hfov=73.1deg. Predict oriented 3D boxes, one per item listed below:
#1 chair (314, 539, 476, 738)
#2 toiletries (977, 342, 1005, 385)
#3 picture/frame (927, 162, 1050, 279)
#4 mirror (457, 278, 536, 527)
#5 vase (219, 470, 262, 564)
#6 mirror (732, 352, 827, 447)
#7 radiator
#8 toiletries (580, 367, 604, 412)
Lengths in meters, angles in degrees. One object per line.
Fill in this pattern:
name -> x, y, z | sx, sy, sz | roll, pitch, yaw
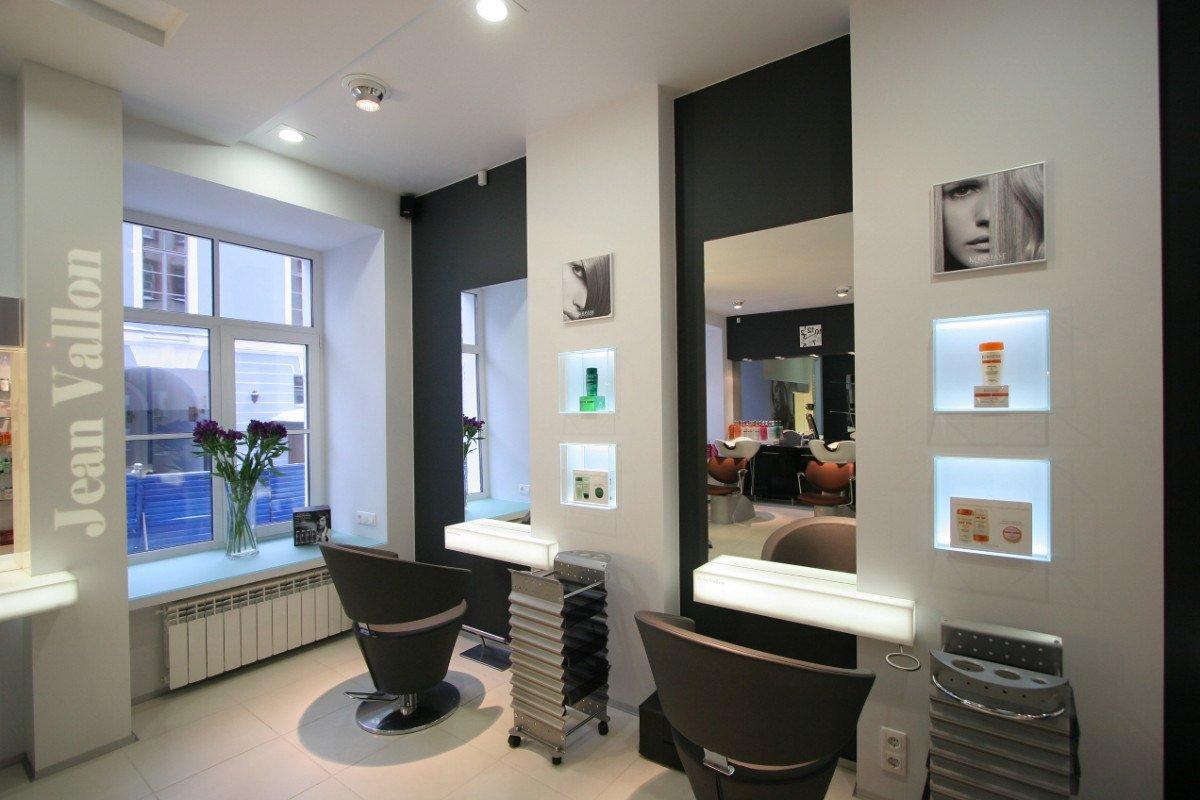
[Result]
chair -> -1.302, 1.399, 5.194 | 0.921, 1.196, 1.100 | 1, 2, 26
toiletries -> 1.951, -0.191, 4.004 | 0.114, 0.215, 0.055 | -3, 0, 26
picture/frame -> 1.959, -0.893, 4.005 | 0.590, 0.603, 0.040 | -1, -3, 27
mirror -> -0.893, -0.083, 7.078 | 0.581, 2.026, 0.343 | -3, 0, -3
vase -> -2.537, 0.829, 5.724 | 0.186, 0.553, 0.096 | -3, 0, -25
mirror -> 1.077, -0.008, 4.709 | 0.515, 0.532, 0.040 | 4, 2, 37
radiator -> -2.327, 1.528, 5.339 | 0.123, 0.432, 0.920 | -23, -14, 37
toiletries -> -0.049, -0.074, 5.071 | 0.161, 0.278, 0.065 | -3, 0, 41
